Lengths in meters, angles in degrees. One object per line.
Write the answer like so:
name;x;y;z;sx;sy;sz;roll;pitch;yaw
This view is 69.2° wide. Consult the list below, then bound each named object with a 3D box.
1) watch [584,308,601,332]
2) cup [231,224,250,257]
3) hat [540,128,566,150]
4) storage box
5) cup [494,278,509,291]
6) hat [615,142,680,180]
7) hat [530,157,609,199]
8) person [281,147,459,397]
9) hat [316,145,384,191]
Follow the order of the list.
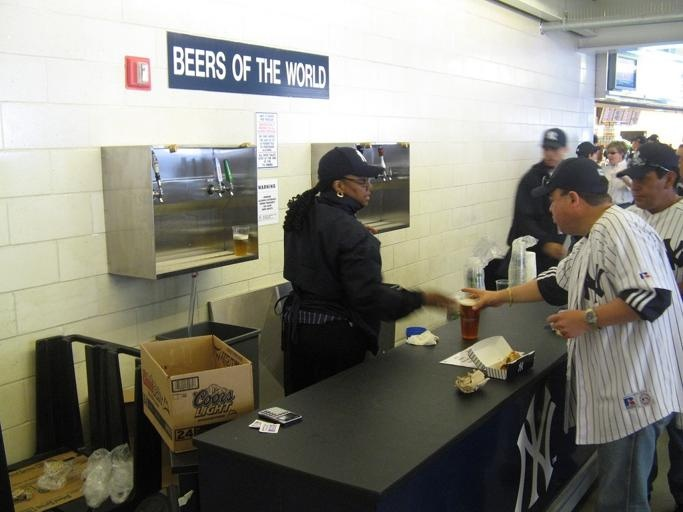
watch;1.019;0.256;1.954;0.056;0.094;0.088;-6;-10;42
cup;-0.709;-0.107;3.418;0.115;0.202;0.081;-4;11;-14
hat;2.077;-1.142;4.804;0.203;0.168;0.305;8;19;26
storage box;-0.605;0.531;2.136;0.522;0.404;0.535;-4;8;-35
cup;1.074;0.188;3.312;0.092;0.103;0.096;0;11;0
hat;1.821;-0.562;2.941;0.271;0.161;0.187;0;8;5
hat;1.045;-0.357;2.231;0.243;0.138;0.161;8;17;27
person;0.037;0.119;2.743;0.860;1.421;0.376;4;12;25
hat;0.043;-0.495;2.723;0.319;0.182;0.207;-15;16;6
